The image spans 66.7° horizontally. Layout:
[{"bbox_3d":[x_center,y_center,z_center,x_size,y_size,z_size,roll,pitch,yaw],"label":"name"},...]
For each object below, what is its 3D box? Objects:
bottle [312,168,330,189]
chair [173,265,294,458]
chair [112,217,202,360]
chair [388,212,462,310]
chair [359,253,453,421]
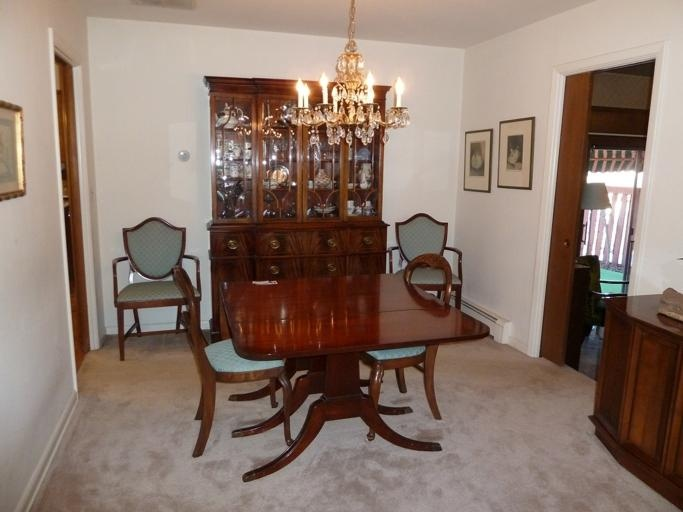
[{"bbox_3d":[-0.197,-0.750,5.086,0.168,0.208,0.172,-4,9,-23],"label":"bottle"},{"bbox_3d":[-0.699,0.701,3.442,0.723,1.236,0.665,-3,12,-18],"label":"chair"},{"bbox_3d":[-1.730,0.273,4.900,0.722,1.184,0.684,-2,9,-20],"label":"chair"},{"bbox_3d":[0.944,0.203,5.819,0.811,1.148,0.813,7,-17,-8],"label":"chair"},{"bbox_3d":[0.468,0.668,3.902,0.689,1.281,0.656,-6,-7,-3],"label":"chair"}]
